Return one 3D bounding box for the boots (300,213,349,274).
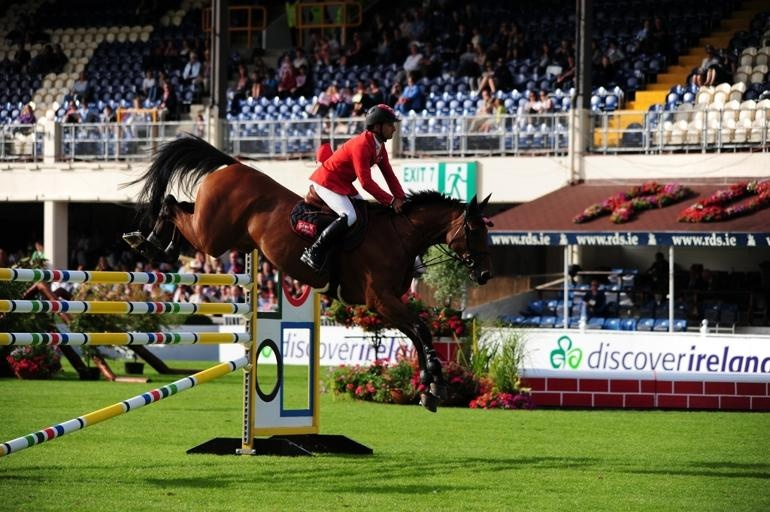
[{"bbox_3d":[-1.006,-0.105,30.301,1.137,0.779,0.394,-20,-28,28],"label":"boots"}]

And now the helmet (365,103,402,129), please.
[{"bbox_3d":[-0.041,-2.452,30.645,0.587,0.311,0.406,0,1,1],"label":"helmet"}]
